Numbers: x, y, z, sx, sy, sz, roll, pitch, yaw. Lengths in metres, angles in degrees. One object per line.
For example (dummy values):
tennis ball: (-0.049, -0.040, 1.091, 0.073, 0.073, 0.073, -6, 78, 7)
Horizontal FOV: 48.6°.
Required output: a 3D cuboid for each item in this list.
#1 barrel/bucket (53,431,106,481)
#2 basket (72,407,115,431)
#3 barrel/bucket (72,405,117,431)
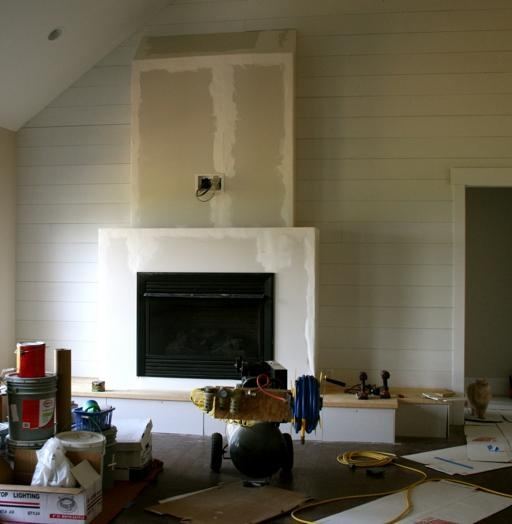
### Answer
barrel/bucket: (-0.932, 0.991, 3.019, 0.219, 0.278, 0.226, 0, -3, 0)
basket: (-0.958, 0.909, 3.304, 0.185, 0.091, 0.140, -1, -3, 16)
barrel/bucket: (-0.955, 0.904, 3.305, 0.185, 0.091, 0.142, -1, -3, 18)
